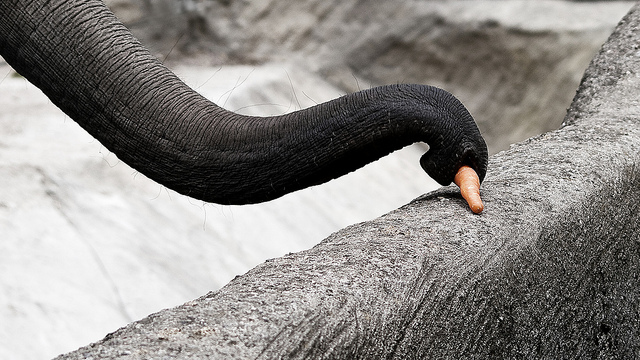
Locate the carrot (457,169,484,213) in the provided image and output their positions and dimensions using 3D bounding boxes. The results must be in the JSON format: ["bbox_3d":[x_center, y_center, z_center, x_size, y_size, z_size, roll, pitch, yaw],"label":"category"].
[{"bbox_3d":[0.544,0.034,3.688,0.060,0.193,0.063,-45,-27,26],"label":"carrot"}]
